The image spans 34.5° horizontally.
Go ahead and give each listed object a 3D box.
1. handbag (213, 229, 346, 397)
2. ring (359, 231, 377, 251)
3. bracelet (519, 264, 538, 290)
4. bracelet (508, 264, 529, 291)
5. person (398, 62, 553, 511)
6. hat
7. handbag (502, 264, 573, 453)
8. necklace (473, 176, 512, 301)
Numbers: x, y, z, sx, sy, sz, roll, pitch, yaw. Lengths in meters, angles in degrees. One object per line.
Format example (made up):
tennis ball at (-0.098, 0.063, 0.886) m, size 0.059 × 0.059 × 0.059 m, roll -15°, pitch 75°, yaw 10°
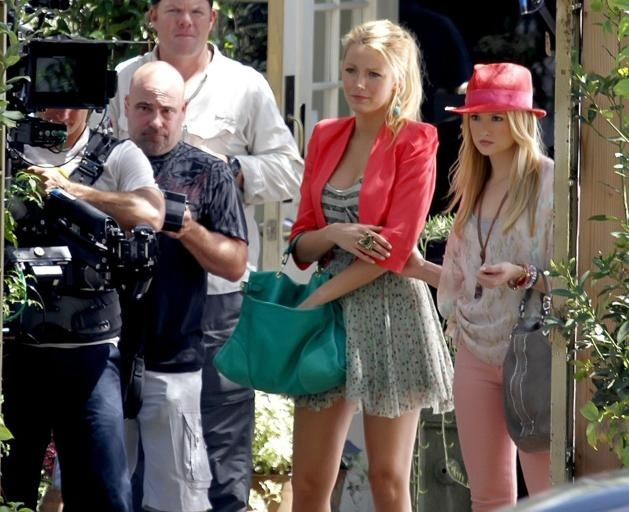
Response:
handbag at (-0.112, 0.295, 3.789) m, size 0.453 × 0.528 × 0.272 m, roll 5°, pitch -6°, yaw 8°
ring at (0.192, -0.056, 3.640) m, size 0.060 × 0.060 × 0.016 m, roll 4°, pitch 3°, yaw 1°
bracelet at (0.757, 0.073, 3.547) m, size 0.066 × 0.028 × 0.061 m, roll -42°, pitch 5°, yaw 47°
bracelet at (0.724, 0.073, 3.587) m, size 0.059 × 0.076 × 0.034 m, roll 17°, pitch 29°, yaw -21°
person at (0.653, 0.094, 3.735) m, size 0.591 × 1.653 × 0.482 m, roll 5°, pitch 4°, yaw 27°
hat at (0.703, -0.612, 3.837) m, size 0.365 × 0.226 × 0.363 m, roll 3°, pitch 0°, yaw 1°
handbag at (0.760, 0.343, 3.539) m, size 0.160 × 0.627 × 0.227 m, roll 4°, pitch -11°, yaw -33°
necklace at (0.662, -0.061, 3.739) m, size 0.057 × 0.418 × 0.104 m, roll 24°, pitch -25°, yaw -33°
